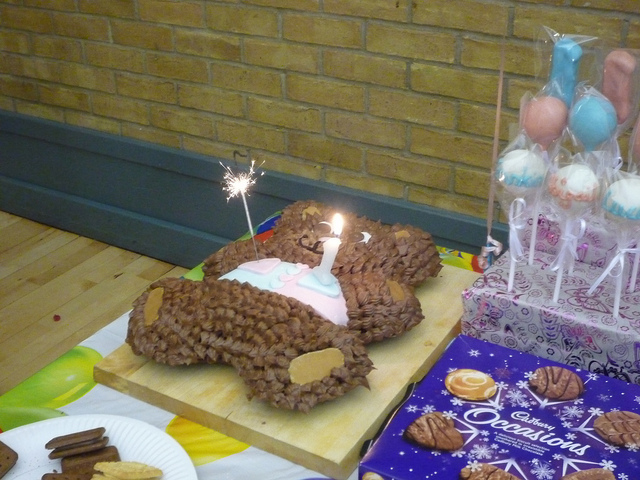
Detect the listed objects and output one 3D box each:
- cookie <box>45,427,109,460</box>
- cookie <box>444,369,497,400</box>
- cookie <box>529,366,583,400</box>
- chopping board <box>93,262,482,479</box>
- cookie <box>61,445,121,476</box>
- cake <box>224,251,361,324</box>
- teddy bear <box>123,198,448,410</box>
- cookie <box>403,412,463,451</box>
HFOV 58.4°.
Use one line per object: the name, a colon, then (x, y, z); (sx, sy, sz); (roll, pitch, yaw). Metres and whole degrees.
cookie: (-0.385, 0.322, 0.897); (0.076, 0.014, 0.047); (-3, 6, -2)
cookie: (0.251, 0.240, 0.947); (0.081, 0.012, 0.065); (3, 25, 5)
cookie: (0.387, 0.235, 0.936); (0.080, 0.018, 0.066); (10, 27, 19)
chopping board: (0.076, 0.223, 1.073); (0.540, 0.029, 0.434); (13, 27, 28)
cookie: (-0.354, 0.339, 0.882); (0.074, 0.016, 0.037); (-9, 22, -18)
cake: (-0.049, 0.082, 1.119); (0.235, 0.054, 0.146); (17, 26, 16)
teddy bear: (-0.042, 0.090, 1.185); (0.520, 0.118, 0.501); (18, 40, 25)
cookie: (0.181, 0.292, 0.868); (0.080, 0.012, 0.074); (16, 29, 30)
